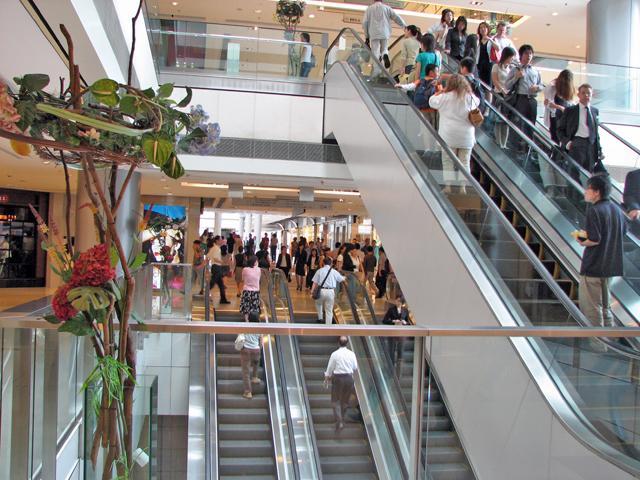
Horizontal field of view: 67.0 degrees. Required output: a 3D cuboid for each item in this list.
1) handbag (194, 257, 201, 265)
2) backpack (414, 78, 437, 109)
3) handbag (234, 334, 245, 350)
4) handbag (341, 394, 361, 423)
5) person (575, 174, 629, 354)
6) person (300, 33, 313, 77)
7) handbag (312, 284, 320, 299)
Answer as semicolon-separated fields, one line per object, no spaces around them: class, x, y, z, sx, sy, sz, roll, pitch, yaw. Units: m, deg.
handbag;-3.050;0.564;12.167;0.204;0.177;0.299;-2;-21;-4
backpack;1.607;-2.254;7.501;0.442;0.473;0.314;3;-2;-38
handbag;-0.348;0.446;2.091;0.043;0.080;0.050;0;1;-11
handbag;0.136;0.727;2.058;0.075;0.099;0.021;1;1;6
person;2.631;0.098;4.601;0.511;1.389;0.320;0;1;-26
person;-0.335;-4.591;12.131;0.357;1.168;0.290;1;1;-5
handbag;-0.061;0.940;8.612;0.136;0.243;0.304;1;1;-6
